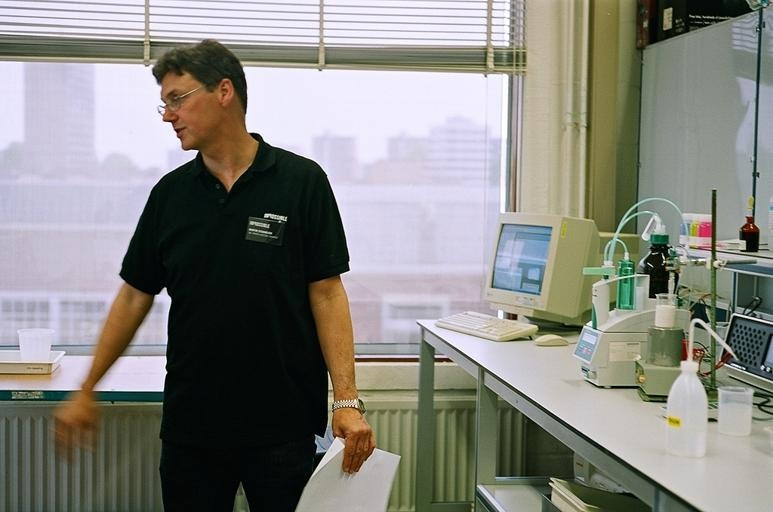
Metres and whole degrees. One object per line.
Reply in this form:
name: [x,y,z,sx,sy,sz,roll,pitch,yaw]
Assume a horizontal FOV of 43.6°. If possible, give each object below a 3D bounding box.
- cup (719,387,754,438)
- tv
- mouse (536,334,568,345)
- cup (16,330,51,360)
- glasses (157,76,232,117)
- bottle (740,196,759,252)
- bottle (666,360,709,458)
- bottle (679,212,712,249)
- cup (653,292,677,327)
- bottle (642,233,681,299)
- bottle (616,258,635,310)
cup: [1.464,0.643,3.901,0.141,0.199,0.170,4,-9,-3]
tv: [0.858,0.091,5.097,0.488,0.571,0.532,15,-5,-42]
mouse: [0.802,0.419,4.696,0.111,0.039,0.066,-1,1,-16]
cup: [-1.830,0.461,5.021,0.144,0.151,0.147,4,3,0]
glasses: [-0.816,-0.646,3.992,0.191,0.061,0.185,-41,15,-15]
bottle: [1.719,-0.154,4.558,0.092,0.256,0.306,0,6,20]
bottle: [1.158,0.594,3.713,0.166,0.375,0.088,-1,5,5]
bottle: [1.504,-0.113,4.672,0.064,0.165,0.166,3,-2,-12]
cup: [1.180,0.236,4.053,0.079,0.150,0.090,-1,7,6]
bottle: [1.246,0.053,4.406,0.171,0.292,0.415,0,6,16]
bottle: [1.057,0.129,4.251,0.081,0.235,0.081,1,-4,0]
